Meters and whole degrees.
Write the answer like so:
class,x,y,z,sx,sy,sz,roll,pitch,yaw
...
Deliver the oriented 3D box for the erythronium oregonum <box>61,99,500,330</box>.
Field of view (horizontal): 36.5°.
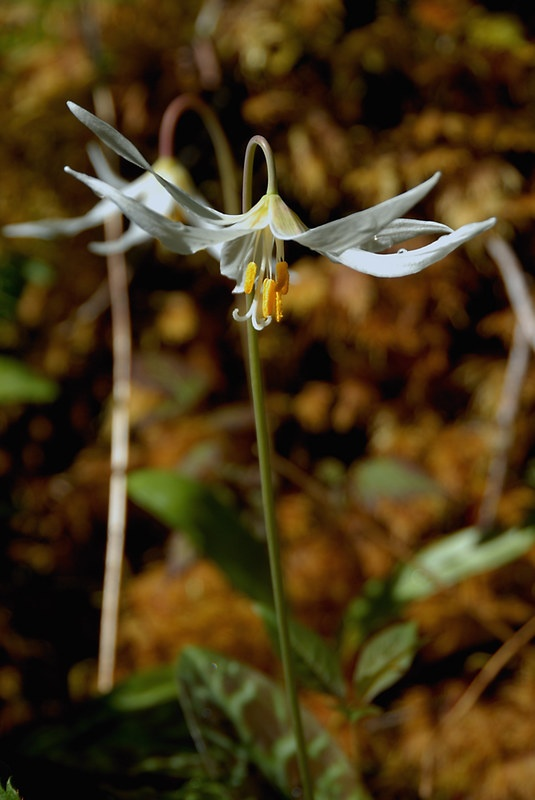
class,x,y,z,sx,sy,sz,roll,pitch,yaw
erythronium oregonum,-0.032,-0.203,0.975,0.453,0.181,0.497,-10,19,-40
